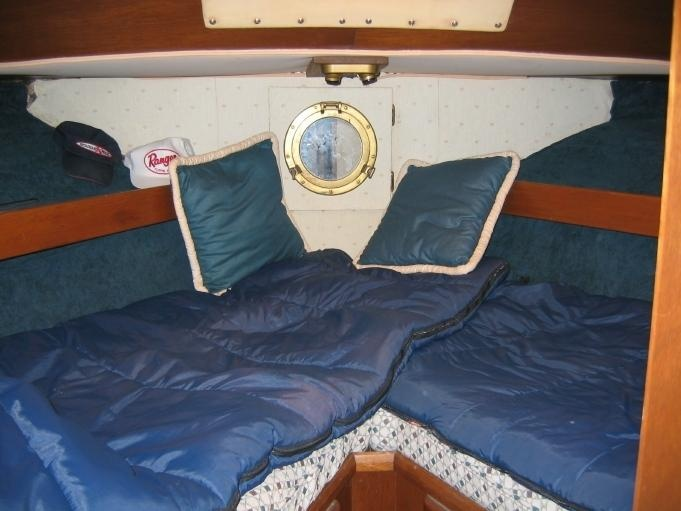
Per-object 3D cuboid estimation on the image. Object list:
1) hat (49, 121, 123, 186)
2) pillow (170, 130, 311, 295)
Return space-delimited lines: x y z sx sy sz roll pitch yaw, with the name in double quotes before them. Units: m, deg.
"hat" -0.972 -0.397 2.380 0.244 0.237 0.172 -2 8 -33
"pillow" -0.422 -0.166 2.435 0.264 0.527 0.524 28 43 34
